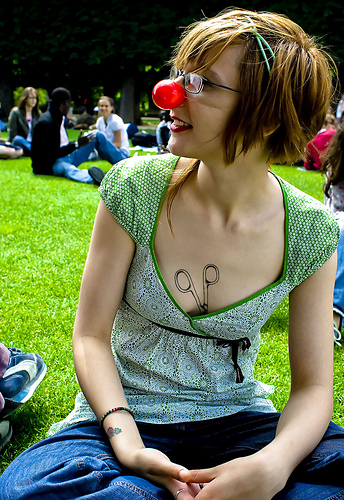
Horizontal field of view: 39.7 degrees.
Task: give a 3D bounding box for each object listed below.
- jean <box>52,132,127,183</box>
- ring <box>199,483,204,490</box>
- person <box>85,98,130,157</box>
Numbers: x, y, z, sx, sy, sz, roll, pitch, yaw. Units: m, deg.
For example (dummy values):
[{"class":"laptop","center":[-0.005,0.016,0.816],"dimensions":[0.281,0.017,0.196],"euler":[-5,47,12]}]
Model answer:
[{"class":"jean","center":[-1.517,-1.716,8.513],"dimensions":[0.764,0.731,1.667],"euler":[8,19,13]},{"class":"ring","center":[0.073,0.588,1.190],"dimensions":[0.013,0.011,0.004],"euler":[9,6,12]},{"class":"person","center":[-1.373,-2.609,10.183],"dimensions":[0.932,1.382,0.576],"euler":[-2,5,-39]}]
